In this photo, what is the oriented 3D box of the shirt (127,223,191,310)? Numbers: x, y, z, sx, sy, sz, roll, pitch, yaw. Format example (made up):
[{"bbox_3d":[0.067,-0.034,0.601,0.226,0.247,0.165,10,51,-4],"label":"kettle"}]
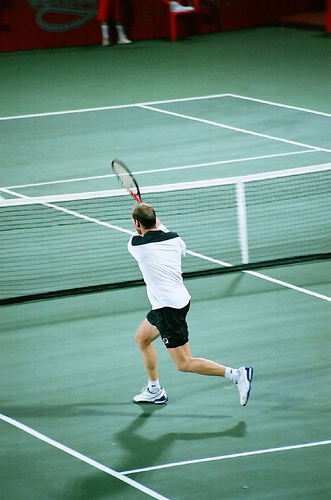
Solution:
[{"bbox_3d":[-0.019,0.132,3.845,0.375,0.451,0.237,-11,4,-10],"label":"shirt"}]
